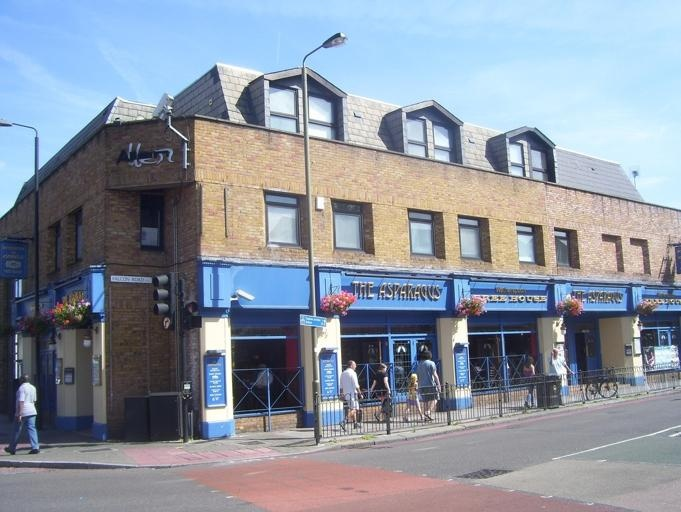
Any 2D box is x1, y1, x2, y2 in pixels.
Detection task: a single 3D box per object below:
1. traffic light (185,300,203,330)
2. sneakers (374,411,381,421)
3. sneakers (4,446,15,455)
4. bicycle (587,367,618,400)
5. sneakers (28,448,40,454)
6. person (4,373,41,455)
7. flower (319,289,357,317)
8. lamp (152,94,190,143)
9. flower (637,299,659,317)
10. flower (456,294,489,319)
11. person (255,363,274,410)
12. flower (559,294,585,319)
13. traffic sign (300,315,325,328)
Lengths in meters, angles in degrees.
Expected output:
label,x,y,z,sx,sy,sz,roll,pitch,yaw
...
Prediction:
label,x,y,z,sx,sy,sz,roll,pitch,yaw
traffic light,-4.072,1.670,20.904,0.374,0.708,0.856,-5,-11,7
sneakers,1.097,4.783,22.207,0.212,0.281,0.646,0,2,4
sneakers,-8.584,5.102,19.525,0.188,0.192,0.481,5,-15,-37
bicycle,9.511,4.727,27.216,1.589,1.051,0.728,-4,1,-22
sneakers,-7.907,5.091,19.422,0.189,0.121,0.183,0,-6,17
person,-8.401,4.226,19.906,0.830,2.054,1.210,1,-12,-23
flower,-0.076,1.464,23.185,0.797,0.604,0.847,-5,-3,36
lamp,-5.120,-4.123,22.459,1.116,1.638,0.765,-13,-14,40
flower,13.094,2.206,32.455,0.819,0.628,0.900,3,-5,-6
flower,4.591,1.773,26.100,0.873,0.667,0.813,-3,-11,32
person,-2.314,3.977,22.735,0.608,1.367,0.180,6,-15,-43
flower,8.967,1.974,29.096,0.867,0.885,0.884,-2,-7,20
traffic sign,-0.821,1.799,20.901,0.782,0.333,0.428,2,-13,-29
